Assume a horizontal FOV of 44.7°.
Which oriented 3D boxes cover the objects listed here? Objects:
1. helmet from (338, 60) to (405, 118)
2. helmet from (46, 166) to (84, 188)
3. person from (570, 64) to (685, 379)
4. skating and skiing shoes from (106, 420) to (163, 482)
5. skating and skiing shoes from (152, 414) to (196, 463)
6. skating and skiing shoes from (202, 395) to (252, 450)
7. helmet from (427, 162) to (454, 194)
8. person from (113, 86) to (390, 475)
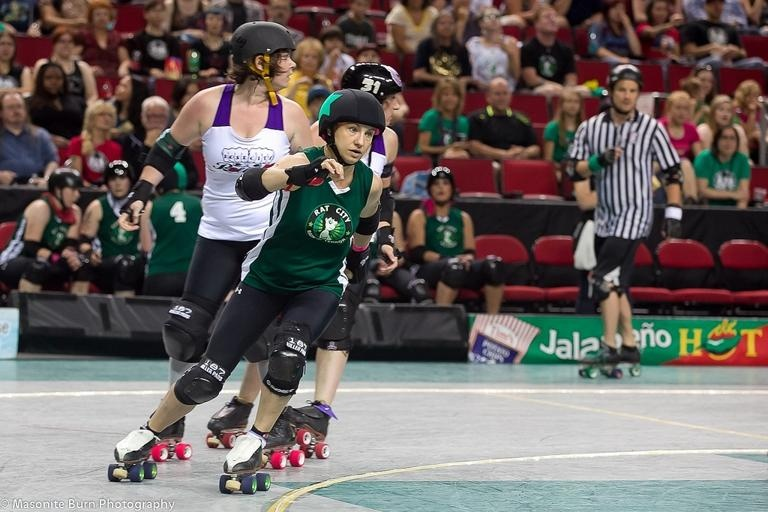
[{"bbox_3d":[-0.061,-1.076,6.090,0.405,0.363,0.324,-1,5,-12],"label":"helmet"},{"bbox_3d":[-3.100,-0.771,9.163,0.257,0.233,0.204,-3,2,11],"label":"helmet"},{"bbox_3d":[2.157,-0.295,8.434,1.007,2.853,0.555,4,0,7],"label":"person"},{"bbox_3d":[-1.318,1.065,5.024,0.285,0.286,0.168,3,0,-33],"label":"skating and skiing shoes"},{"bbox_3d":[-1.251,1.059,5.409,0.178,0.248,0.270,-6,-9,41],"label":"skating and skiing shoes"},{"bbox_3d":[-0.997,1.025,5.904,0.152,0.248,0.407,15,9,0],"label":"skating and skiing shoes"},{"bbox_3d":[0.614,-0.851,9.943,0.263,0.265,0.139,2,7,-2],"label":"helmet"},{"bbox_3d":[-0.610,0.100,5.121,1.196,2.071,0.603,4,0,-9],"label":"person"}]
